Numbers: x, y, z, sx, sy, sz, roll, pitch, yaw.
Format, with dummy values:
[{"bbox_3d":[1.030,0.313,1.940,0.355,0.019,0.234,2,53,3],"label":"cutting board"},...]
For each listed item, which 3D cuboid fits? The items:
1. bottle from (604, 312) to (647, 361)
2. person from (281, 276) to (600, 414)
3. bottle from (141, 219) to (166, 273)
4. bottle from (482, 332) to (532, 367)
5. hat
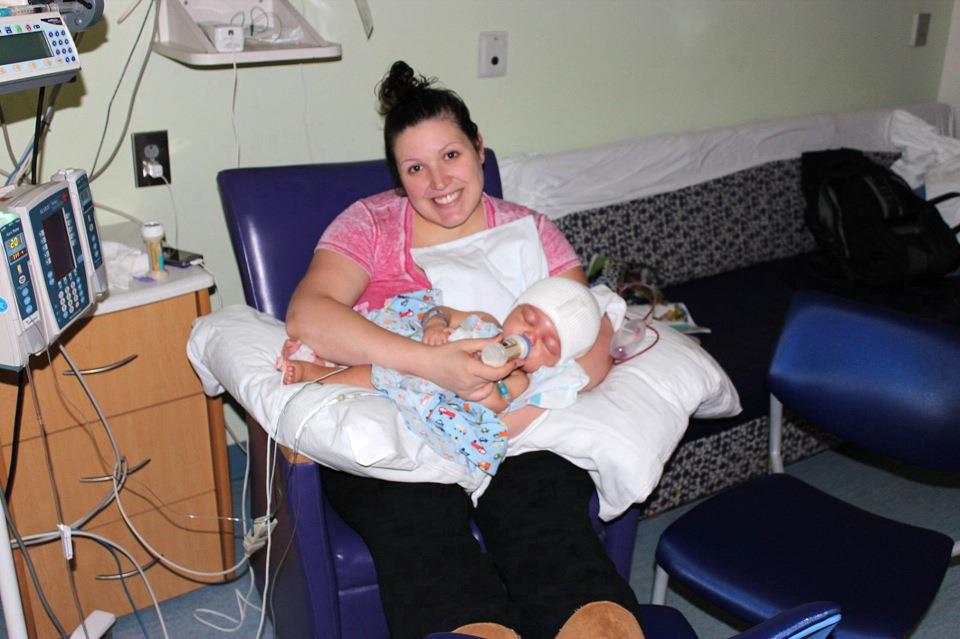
[{"bbox_3d":[0.412,0.054,2.008,0.073,0.036,0.133,35,57,6],"label":"bottle"},{"bbox_3d":[-0.102,0.106,1.841,0.850,0.333,0.393,-5,29,6],"label":"person"},{"bbox_3d":[-0.916,-0.197,2.021,0.057,0.127,0.112,-13,27,-21],"label":"bottle"},{"bbox_3d":[0.062,0.066,1.714,0.102,0.062,0.057,-11,51,-45],"label":"bottle"},{"bbox_3d":[0.219,-0.005,1.837,0.161,0.173,0.218,43,12,9],"label":"hat"}]
